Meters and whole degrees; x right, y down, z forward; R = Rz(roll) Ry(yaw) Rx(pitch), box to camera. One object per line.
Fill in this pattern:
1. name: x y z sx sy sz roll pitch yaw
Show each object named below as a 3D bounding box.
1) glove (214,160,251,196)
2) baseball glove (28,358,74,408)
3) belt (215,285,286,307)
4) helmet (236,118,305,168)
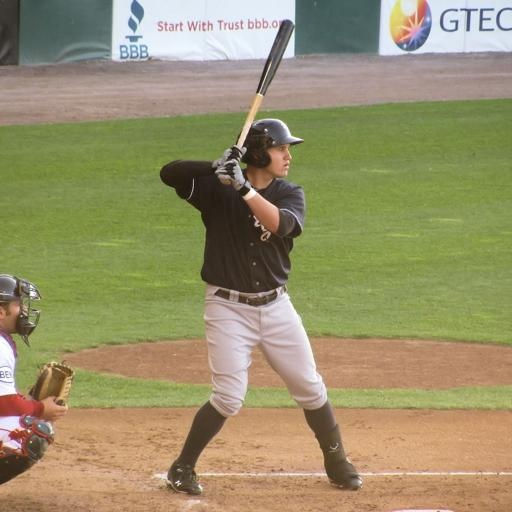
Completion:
1. glove: -0.169 -0.666 10.456 0.261 0.297 0.251 -6 16 -20
2. baseball glove: -1.677 1.007 10.639 0.347 0.345 0.258 23 26 5
3. belt: -0.076 0.334 10.634 0.499 0.134 0.074 4 8 1
4. helmet: 0.068 -0.965 10.754 0.435 0.429 0.511 -9 31 -24
